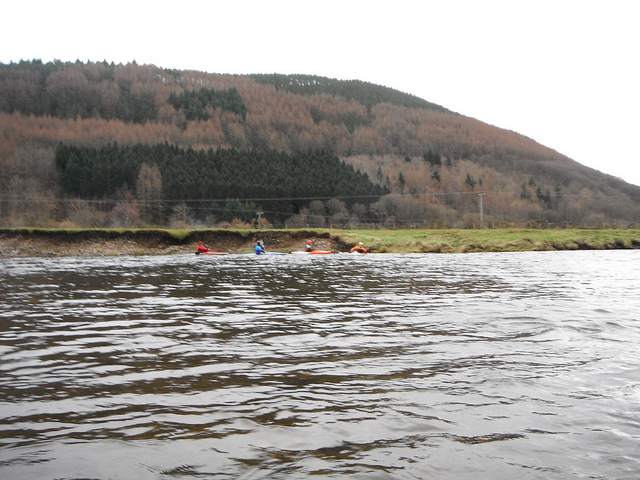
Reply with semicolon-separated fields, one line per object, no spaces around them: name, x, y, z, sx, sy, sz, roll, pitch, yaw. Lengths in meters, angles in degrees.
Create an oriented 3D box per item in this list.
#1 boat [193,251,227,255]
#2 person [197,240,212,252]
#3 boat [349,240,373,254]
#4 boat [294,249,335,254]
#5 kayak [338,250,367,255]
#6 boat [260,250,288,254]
boat;-15.563;1.866;113.548;3.705;0.303;1.245;2;2;-42
person;-16.363;1.327;113.080;1.078;1.038;1.986;-23;-32;10
boat;5.787;1.283;117.244;3.081;1.347;1.546;-3;6;-37
boat;-1.173;1.678;116.224;5.094;0.839;3.958;-3;-5;39
kayak;4.628;1.788;115.881;3.265;0.754;3.258;1;-4;-5
boat;-6.421;1.794;115.018;3.518;0.143;0.904;4;4;39
